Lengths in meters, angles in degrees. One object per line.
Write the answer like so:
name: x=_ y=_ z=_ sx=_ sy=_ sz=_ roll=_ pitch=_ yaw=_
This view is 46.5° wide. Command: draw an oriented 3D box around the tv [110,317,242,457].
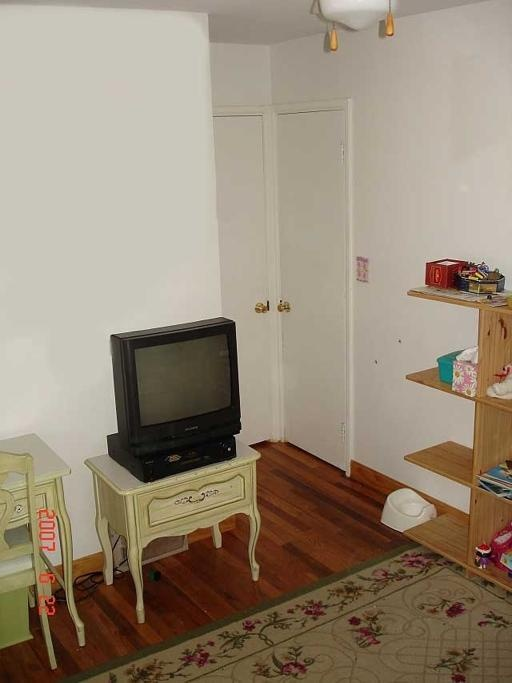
tv: x=-0.324 y=0.199 z=2.416 sx=0.542 sy=0.503 sz=0.289 roll=-10 pitch=15 yaw=-29

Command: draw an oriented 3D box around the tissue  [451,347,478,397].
tissue : x=0.857 y=0.123 z=2.456 sx=0.095 sy=0.201 sz=0.166 roll=0 pitch=10 yaw=18
